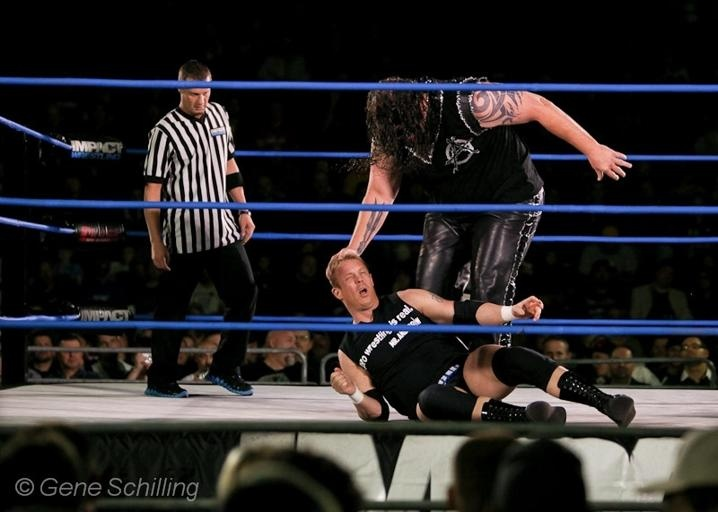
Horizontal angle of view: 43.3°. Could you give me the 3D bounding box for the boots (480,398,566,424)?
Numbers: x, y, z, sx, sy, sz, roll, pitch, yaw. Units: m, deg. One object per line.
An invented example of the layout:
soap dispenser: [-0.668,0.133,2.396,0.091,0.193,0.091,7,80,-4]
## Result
boots: [0.705,0.666,3.924,0.383,0.118,0.131,-7,-8,17]

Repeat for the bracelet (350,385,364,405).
bracelet: [-0.001,0.627,4.107,0.083,0.070,0.072,-12,8,-14]

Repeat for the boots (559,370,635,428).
boots: [1.026,0.610,3.904,0.331,0.166,0.144,24,-8,20]

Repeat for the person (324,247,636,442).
person: [0.409,0.427,3.929,1.412,0.725,0.743,1,30,45]

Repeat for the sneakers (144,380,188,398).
sneakers: [-1.015,0.701,4.756,0.225,0.069,0.081,0,-7,6]
